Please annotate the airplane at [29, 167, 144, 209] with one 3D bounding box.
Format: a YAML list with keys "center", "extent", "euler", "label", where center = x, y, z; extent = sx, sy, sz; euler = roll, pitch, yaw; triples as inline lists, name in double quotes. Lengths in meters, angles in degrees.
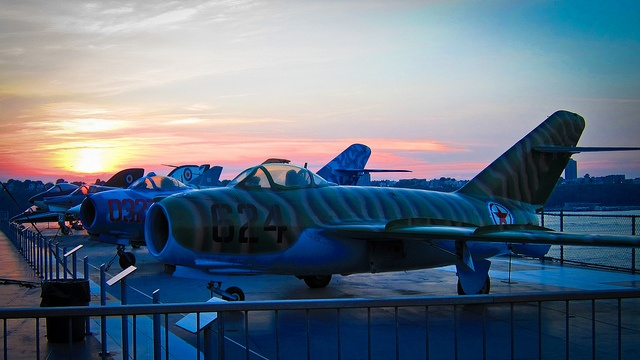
- center: [-19.453, 0.777, 46.786]
  extent: [8.932, 2.294, 6.622]
  euler: [-6, 11, -35]
  label: "airplane"

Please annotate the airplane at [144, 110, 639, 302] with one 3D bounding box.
- center: [4.760, 0.549, 17.407]
  extent: [16.359, 5.448, 8.686]
  euler: [-4, 8, -30]
  label: "airplane"
